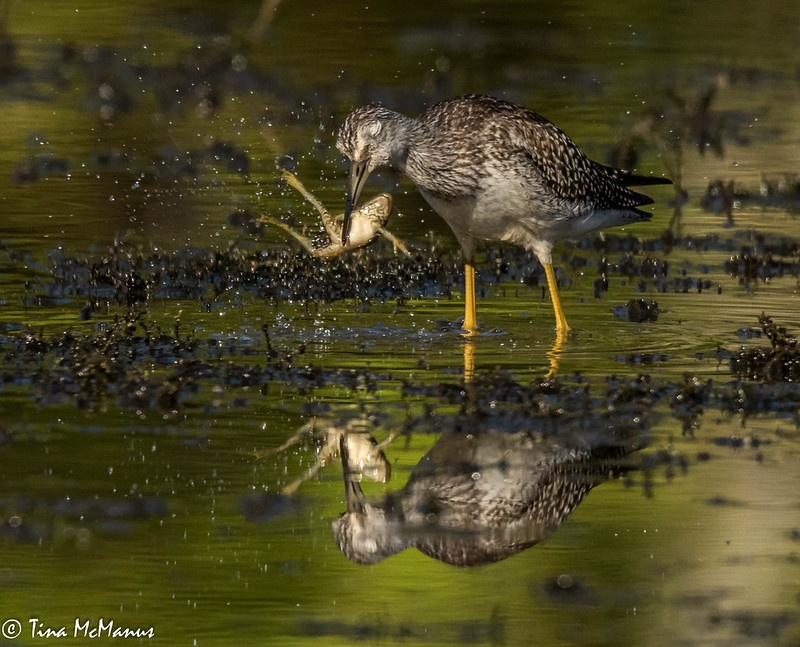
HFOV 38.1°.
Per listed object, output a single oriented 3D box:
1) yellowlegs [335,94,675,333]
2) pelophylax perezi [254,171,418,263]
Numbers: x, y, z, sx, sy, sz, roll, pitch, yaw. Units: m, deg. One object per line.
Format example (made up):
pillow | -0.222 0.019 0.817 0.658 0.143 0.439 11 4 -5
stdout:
yellowlegs | 0.927 -1.434 10.976 2.599 4.248 2.290 7 102 8
pelophylax perezi | -0.699 -1.189 12.986 1.713 1.135 1.231 -6 109 -31
